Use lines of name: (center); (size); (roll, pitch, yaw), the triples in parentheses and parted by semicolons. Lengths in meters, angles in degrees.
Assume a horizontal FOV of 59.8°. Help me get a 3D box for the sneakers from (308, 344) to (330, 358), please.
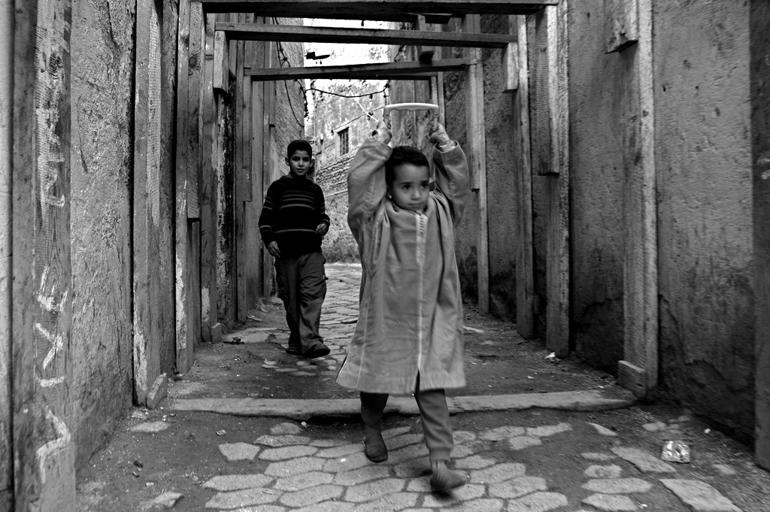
sneakers: (-0.540, 0.752, 5.390); (0.163, 0.123, 0.119); (-1, 13, -7)

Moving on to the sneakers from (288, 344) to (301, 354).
sneakers: (-0.778, 0.794, 5.784); (0.086, 0.043, 0.133); (-3, 9, -7)

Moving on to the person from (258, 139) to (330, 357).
person: (-0.754, -0.012, 5.736); (0.592, 1.856, 1.003); (-3, 13, -12)

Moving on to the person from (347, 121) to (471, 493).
person: (0.150, 0.207, 3.889); (0.803, 1.890, 0.853); (6, 14, 26)
